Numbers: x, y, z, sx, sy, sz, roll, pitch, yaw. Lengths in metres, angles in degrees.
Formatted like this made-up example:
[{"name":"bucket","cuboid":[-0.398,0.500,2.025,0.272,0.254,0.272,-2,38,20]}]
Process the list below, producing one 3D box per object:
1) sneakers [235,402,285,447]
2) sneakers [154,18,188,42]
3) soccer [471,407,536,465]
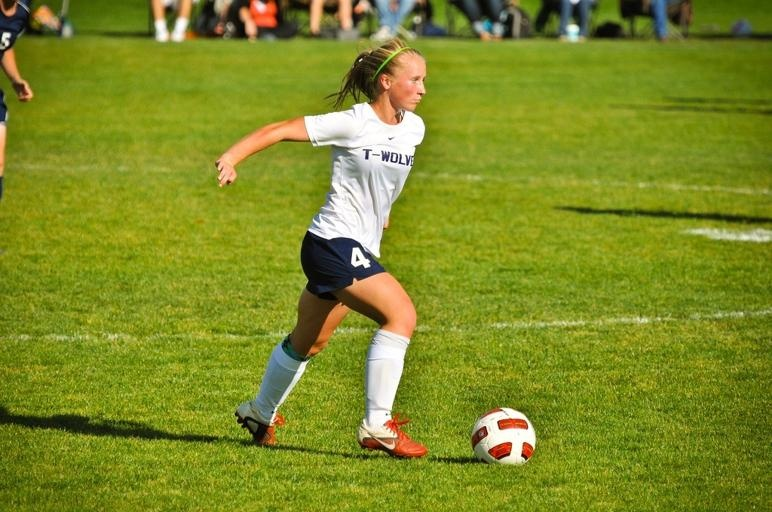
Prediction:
[{"name":"sneakers","cuboid":[-1.095,1.456,11.220,0.204,0.577,0.252,-39,20,-3]},{"name":"sneakers","cuboid":[-2.147,-2.273,12.963,0.370,0.244,0.129,-6,14,-41]},{"name":"soccer","cuboid":[1.033,1.537,11.147,0.475,0.461,0.463,-8,-9,5]}]
